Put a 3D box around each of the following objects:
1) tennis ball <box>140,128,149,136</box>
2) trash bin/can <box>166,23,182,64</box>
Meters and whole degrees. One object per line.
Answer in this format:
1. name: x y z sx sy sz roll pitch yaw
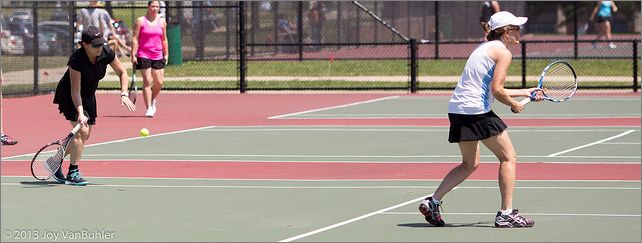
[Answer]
1. tennis ball: -6.320 0.374 21.327 0.347 0.262 0.276 5 38 -3
2. trash bin/can: -7.867 -4.111 32.007 0.713 2.282 0.856 -5 16 -14
